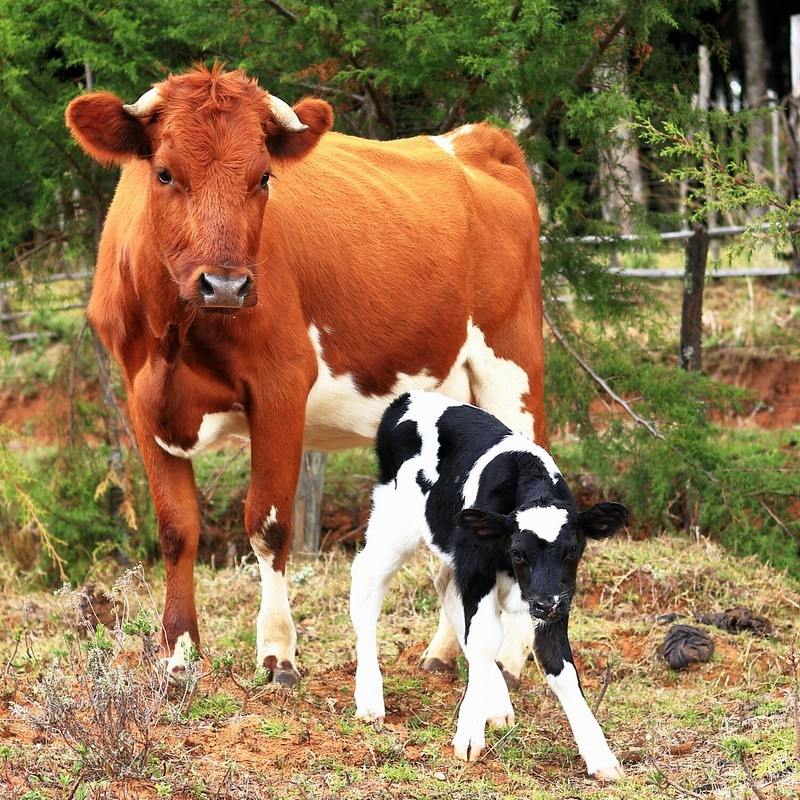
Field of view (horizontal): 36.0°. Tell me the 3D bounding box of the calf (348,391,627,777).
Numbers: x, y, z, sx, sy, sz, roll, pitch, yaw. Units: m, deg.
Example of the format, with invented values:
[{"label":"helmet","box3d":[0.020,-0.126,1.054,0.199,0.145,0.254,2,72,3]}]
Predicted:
[{"label":"calf","box3d":[0.362,0.885,6.013,1.496,1.614,0.806,7,12,42]}]
